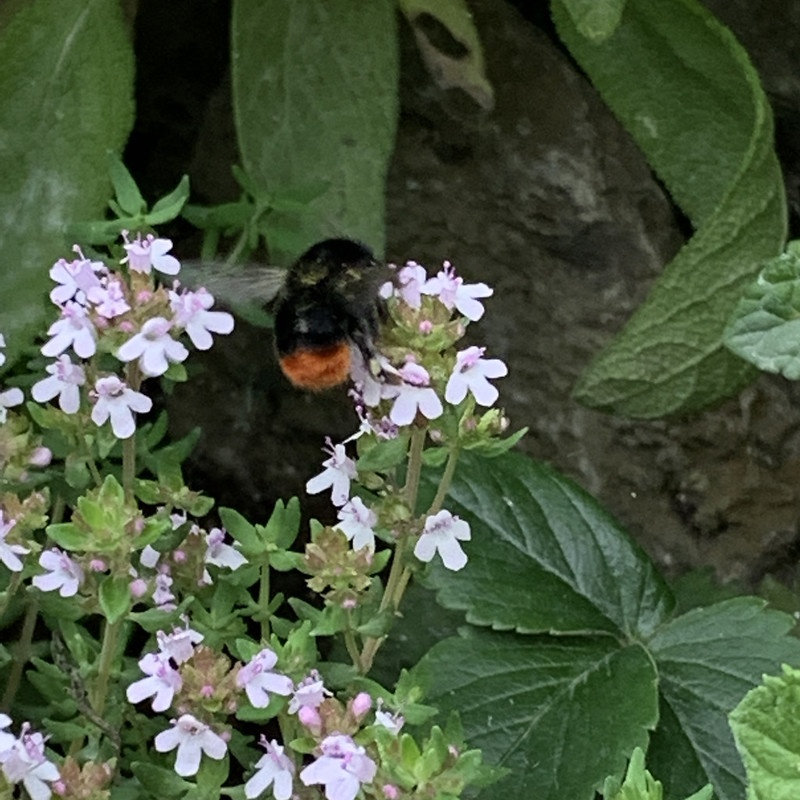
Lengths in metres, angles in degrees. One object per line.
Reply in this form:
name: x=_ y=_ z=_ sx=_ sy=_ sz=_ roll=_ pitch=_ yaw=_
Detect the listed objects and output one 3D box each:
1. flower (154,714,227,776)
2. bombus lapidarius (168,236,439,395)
flower: x=-0.209 y=0.344 z=1.429 sx=0.069 sy=0.027 sz=0.065 roll=-1 pitch=69 yaw=-4
bombus lapidarius: x=-0.101 y=-0.111 z=1.819 sx=0.321 sy=0.141 sz=0.187 roll=-8 pitch=90 yaw=13
